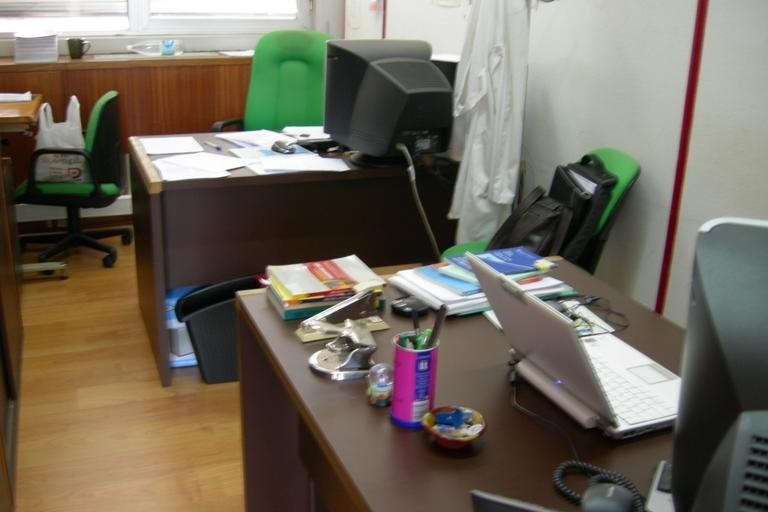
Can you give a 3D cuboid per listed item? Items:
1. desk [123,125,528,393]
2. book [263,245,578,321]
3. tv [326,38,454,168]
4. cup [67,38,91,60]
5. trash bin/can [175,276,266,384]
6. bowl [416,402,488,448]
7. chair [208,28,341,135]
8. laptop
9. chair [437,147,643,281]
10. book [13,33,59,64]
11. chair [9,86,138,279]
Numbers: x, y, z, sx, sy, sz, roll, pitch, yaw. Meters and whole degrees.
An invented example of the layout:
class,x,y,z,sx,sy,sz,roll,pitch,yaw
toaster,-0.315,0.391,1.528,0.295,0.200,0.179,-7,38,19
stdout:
class,x,y,z,sx,sy,sz,roll,pitch,yaw
desk,-0.651,-0.213,3.490,2.150,1.386,1.232,-6,25,-19
book,0.069,0.081,1.777,0.639,0.063,0.370,-9,21,-25
tv,0.043,-0.824,2.961,0.615,0.551,0.356,-11,26,-30
cup,-2.289,-1.561,4.262,0.135,0.142,0.280,-6,24,-19
trash bin/can,-0.890,0.352,3.094,0.522,0.615,0.429,-8,27,-29
bowl,0.154,0.376,1.268,0.142,0.083,0.150,0,21,0
chair,-0.713,-1.161,3.802,0.760,0.748,0.618,-6,27,-21
laptop,0.505,0.198,1.430,0.481,0.303,0.427,-5,24,-17
chair,0.718,-0.172,2.869,0.660,0.674,0.720,-5,24,-19
book,-2.455,-1.467,4.017,0.241,0.148,0.242,-9,29,-26
chair,-2.153,-0.663,4.609,1.106,1.881,1.217,2,16,-23
